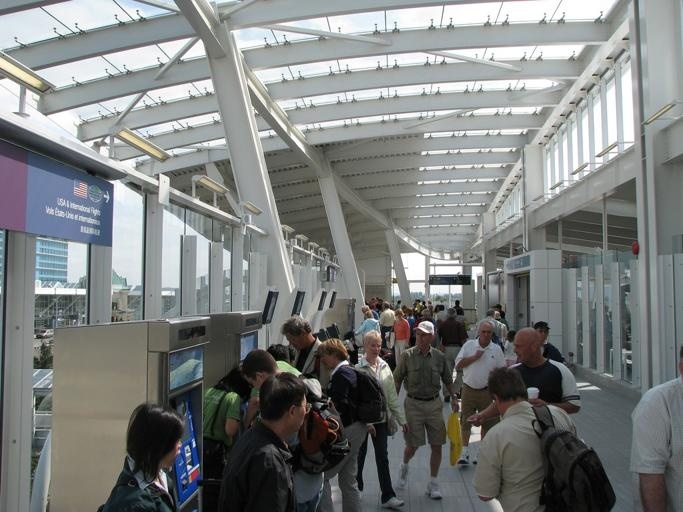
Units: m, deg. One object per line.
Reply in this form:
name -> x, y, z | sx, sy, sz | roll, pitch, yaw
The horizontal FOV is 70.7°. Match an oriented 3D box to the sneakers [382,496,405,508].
sneakers -> 0.648, 3.113, 6.122 | 0.296, 0.137, 0.111 | -16, -13, 31

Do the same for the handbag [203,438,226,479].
handbag -> -1.189, 1.884, 4.495 | 0.204, 0.376, 0.132 | 1, -7, -16

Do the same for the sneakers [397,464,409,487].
sneakers -> 0.889, 3.113, 6.830 | 0.107, 0.314, 0.136 | 9, -4, -6

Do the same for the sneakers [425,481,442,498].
sneakers -> 1.229, 3.125, 6.402 | 0.095, 0.202, 0.292 | 1, -21, -5

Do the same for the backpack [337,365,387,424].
backpack -> 0.259, 1.540, 5.291 | 0.612, 0.655, 0.430 | -1, -8, 1
